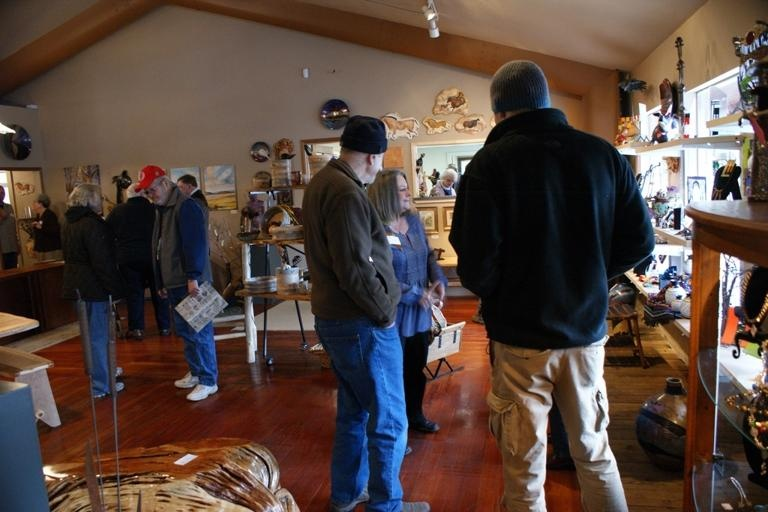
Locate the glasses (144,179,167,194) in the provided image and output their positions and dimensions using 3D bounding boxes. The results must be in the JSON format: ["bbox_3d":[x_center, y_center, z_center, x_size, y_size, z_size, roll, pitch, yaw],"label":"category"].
[{"bbox_3d":[-2.047,-0.622,4.939,0.080,0.064,0.132,26,59,36],"label":"glasses"}]

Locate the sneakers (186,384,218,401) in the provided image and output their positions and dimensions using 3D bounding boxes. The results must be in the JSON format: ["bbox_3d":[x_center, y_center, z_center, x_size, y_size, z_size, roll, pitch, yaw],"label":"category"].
[{"bbox_3d":[-1.682,1.248,5.122,0.113,0.129,0.283,1,0,31],"label":"sneakers"}]

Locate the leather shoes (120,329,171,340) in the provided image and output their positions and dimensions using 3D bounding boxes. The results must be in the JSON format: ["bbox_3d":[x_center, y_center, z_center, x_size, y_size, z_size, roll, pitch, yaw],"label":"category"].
[{"bbox_3d":[-3.111,0.973,7.184,0.547,0.233,0.195,2,-4,-15],"label":"leather shoes"}]

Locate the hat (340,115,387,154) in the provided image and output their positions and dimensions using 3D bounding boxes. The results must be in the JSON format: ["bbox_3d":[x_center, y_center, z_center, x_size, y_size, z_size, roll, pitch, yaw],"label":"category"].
[{"bbox_3d":[-0.116,-0.688,3.186,0.230,0.151,0.224,2,19,-8],"label":"hat"}]

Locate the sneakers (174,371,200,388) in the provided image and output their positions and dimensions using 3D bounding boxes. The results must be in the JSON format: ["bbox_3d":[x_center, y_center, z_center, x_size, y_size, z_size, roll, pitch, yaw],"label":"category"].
[{"bbox_3d":[-1.911,1.192,5.368,0.355,0.156,0.138,1,3,5],"label":"sneakers"}]

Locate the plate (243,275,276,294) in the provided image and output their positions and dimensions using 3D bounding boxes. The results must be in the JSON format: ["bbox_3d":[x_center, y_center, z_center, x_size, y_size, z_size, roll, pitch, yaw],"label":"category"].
[{"bbox_3d":[-1.216,0.279,5.459,0.200,0.153,0.438,-8,10,-43],"label":"plate"}]

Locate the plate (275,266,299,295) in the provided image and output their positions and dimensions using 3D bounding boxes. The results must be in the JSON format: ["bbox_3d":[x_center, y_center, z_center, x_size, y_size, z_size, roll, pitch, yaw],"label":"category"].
[{"bbox_3d":[-0.926,0.232,5.372,0.209,0.231,0.221,0,-1,3],"label":"plate"}]

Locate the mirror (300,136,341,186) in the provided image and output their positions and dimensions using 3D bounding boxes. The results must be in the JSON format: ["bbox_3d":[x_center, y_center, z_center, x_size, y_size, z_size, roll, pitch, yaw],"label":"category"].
[{"bbox_3d":[-0.976,-1.506,8.603,0.669,0.665,0.063,-3,0,7],"label":"mirror"}]

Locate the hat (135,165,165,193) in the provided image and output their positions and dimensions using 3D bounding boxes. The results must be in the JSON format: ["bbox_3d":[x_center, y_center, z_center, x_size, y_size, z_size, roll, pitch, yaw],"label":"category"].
[{"bbox_3d":[-2.143,-0.711,5.080,0.225,0.228,0.370,-4,8,-21],"label":"hat"}]

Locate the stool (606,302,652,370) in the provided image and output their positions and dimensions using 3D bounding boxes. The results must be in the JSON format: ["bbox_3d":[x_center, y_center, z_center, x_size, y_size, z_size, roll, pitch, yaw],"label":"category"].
[{"bbox_3d":[2.336,0.691,5.425,0.519,0.555,0.725,-4,9,13],"label":"stool"}]

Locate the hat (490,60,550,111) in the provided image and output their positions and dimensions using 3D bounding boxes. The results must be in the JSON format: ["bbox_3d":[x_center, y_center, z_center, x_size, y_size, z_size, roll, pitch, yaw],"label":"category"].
[{"bbox_3d":[0.694,-0.879,2.829,0.308,0.236,0.298,-21,19,-33],"label":"hat"}]

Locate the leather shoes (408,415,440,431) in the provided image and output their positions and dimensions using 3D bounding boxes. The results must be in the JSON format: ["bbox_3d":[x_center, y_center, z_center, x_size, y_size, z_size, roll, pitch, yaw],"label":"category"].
[{"bbox_3d":[0.297,1.281,4.255,0.291,0.126,0.099,0,8,12],"label":"leather shoes"}]
